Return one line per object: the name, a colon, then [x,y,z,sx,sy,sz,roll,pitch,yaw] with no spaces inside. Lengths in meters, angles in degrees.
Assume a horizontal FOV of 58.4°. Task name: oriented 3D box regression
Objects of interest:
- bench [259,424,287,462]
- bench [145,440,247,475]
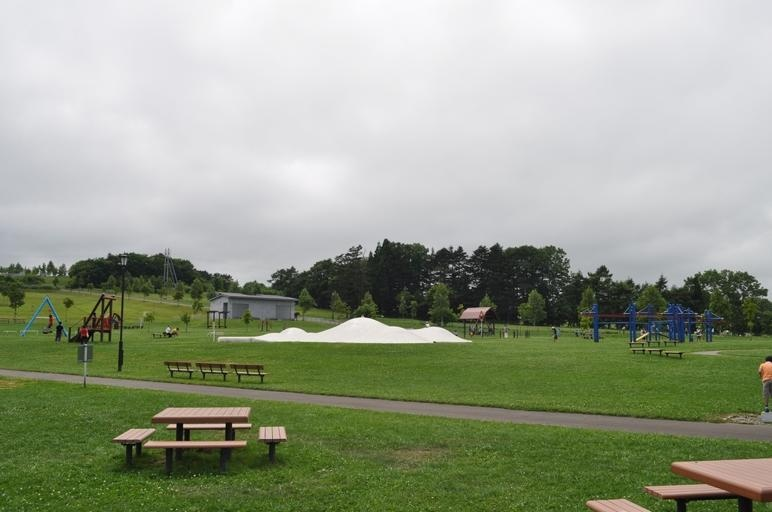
bench: [-4.339,7.435,26.393,0.919,0.753,2.487,1,-5,-6]
bench: [-7.301,7.404,26.562,3.683,1.147,2.758,0,4,-14]
